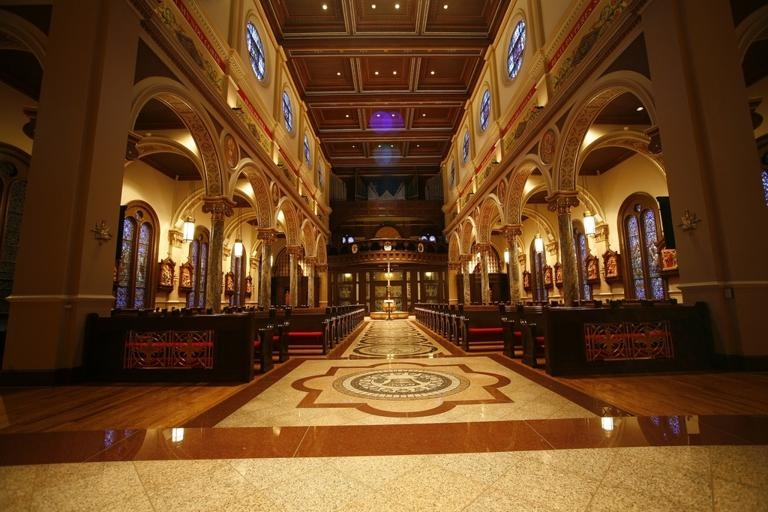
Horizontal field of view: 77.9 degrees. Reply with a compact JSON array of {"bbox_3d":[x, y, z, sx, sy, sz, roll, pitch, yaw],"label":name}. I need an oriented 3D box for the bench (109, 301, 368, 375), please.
[{"bbox_3d":[-3.390,1.944,10.834,2.816,1.543,5.086,-7,-10,28],"label":"bench"}]
